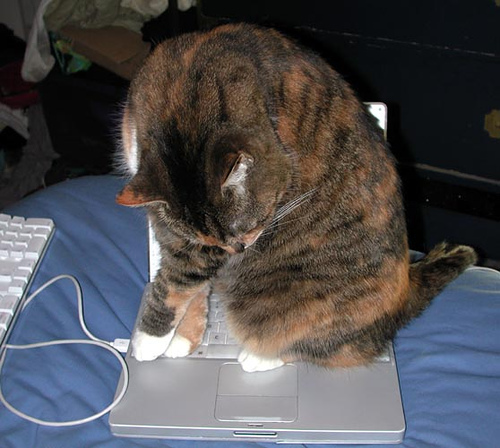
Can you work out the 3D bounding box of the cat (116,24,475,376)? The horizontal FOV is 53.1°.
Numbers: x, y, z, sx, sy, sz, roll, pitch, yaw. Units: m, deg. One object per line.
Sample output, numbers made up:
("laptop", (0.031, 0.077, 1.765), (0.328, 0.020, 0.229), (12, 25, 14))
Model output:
("cat", (0.081, -0.027, 1.012), (0.712, 0.573, 0.501), (-5, 50, -2))
